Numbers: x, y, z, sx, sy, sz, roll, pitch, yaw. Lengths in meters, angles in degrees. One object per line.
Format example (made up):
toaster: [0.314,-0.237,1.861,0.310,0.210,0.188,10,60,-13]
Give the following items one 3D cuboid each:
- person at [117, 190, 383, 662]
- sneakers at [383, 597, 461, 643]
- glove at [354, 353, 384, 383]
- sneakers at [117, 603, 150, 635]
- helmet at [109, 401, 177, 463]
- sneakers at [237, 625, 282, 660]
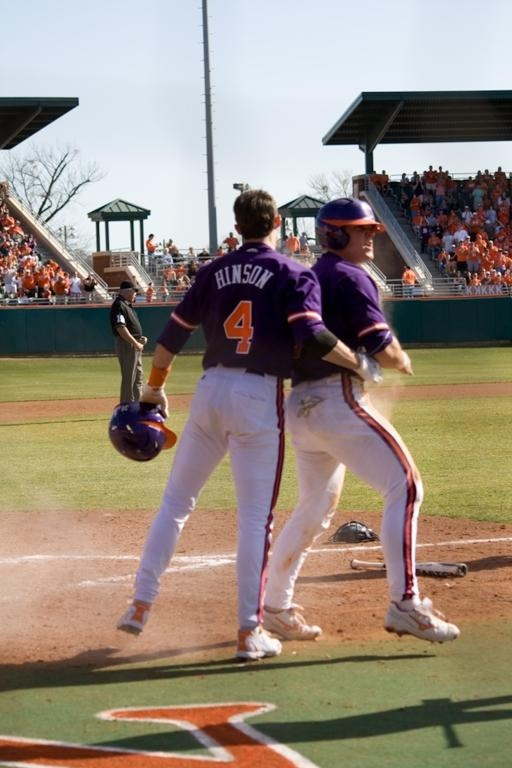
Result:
person: [-0.029,0.123,3.302,0.798,1.565,0.426,2,5,10]
sneakers: [0.541,0.788,3.278,0.316,0.157,0.106,6,6,-5]
glove: [0.394,-0.046,3.302,0.042,0.104,0.080,-39,4,-25]
sneakers: [-0.410,0.790,3.273,0.074,0.055,0.161,-41,1,-7]
helmet: [-0.450,0.189,3.727,0.293,0.205,0.201,11,-6,-9]
sneakers: [0.011,0.866,3.261,0.084,0.098,0.189,0,-3,38]
